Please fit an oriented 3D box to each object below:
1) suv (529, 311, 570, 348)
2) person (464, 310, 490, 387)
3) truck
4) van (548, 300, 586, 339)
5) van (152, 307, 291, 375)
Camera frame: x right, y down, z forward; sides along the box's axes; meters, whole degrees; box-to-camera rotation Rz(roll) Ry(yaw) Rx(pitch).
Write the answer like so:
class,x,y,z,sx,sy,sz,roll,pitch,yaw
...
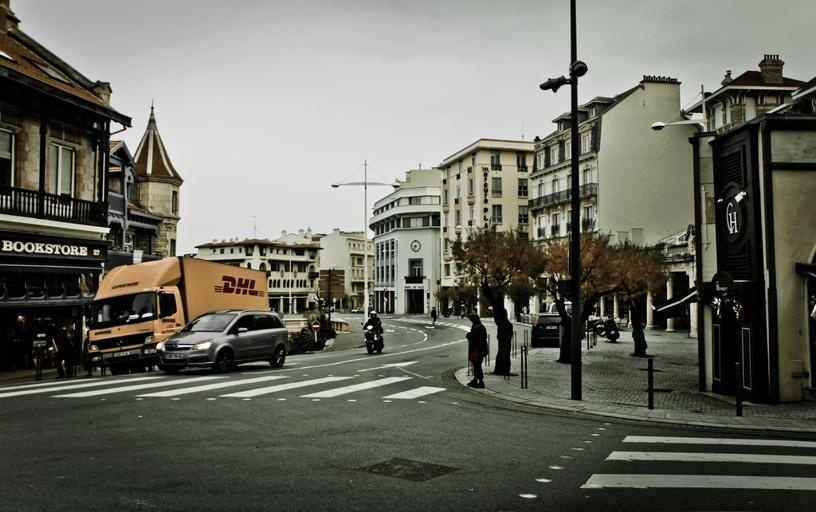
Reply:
class,x,y,z,sx,sy,sz,roll,pitch,yaw
suv,7.008,3.644,49.047,2.277,1.757,4.917,0,-1,6
person,2.487,3.403,36.071,0.728,2.671,1.228,-3,-6,3
truck,-9.849,2.649,42.875,4.250,4.264,8.390,-6,-8,27
van,9.367,3.070,57.641,2.250,2.213,4.126,0,-12,6
van,-7.116,3.181,38.466,2.306,1.671,4.057,-8,-11,32
